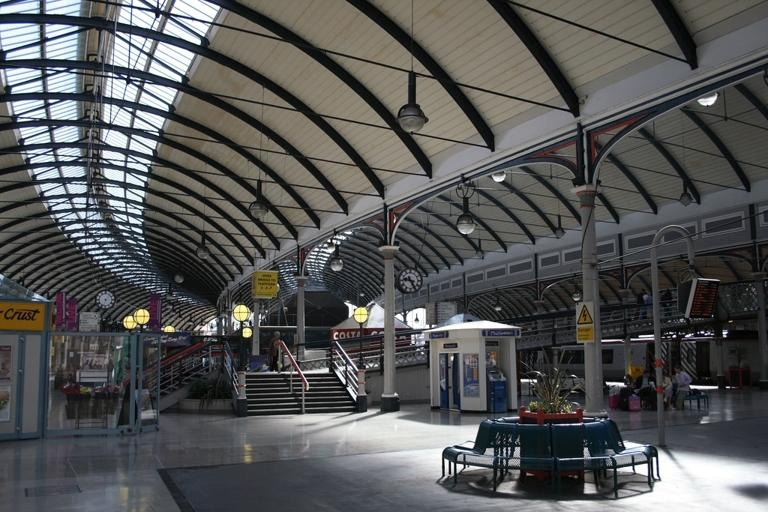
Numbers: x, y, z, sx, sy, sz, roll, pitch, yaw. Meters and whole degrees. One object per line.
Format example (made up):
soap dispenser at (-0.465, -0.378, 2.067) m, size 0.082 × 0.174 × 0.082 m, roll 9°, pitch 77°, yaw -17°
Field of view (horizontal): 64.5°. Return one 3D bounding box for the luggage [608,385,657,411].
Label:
luggage at (9.872, 5.556, 24.236) m, size 1.499 × 0.689 × 1.380 m, roll 1°, pitch -4°, yaw -11°

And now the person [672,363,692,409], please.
person at (11.599, 5.030, 23.489) m, size 0.650 × 1.657 × 1.240 m, roll -7°, pitch -14°, yaw 23°

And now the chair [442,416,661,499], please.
chair at (3.472, 4.142, 12.789) m, size 4.176 × 1.418 × 1.653 m, roll -4°, pitch -13°, yaw 14°

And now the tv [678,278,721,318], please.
tv at (7.317, 0.938, 14.026) m, size 0.875 × 0.913 × 0.600 m, roll -7°, pitch -14°, yaw 23°

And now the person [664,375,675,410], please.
person at (11.022, 5.164, 23.337) m, size 0.408 × 1.238 × 0.916 m, roll -8°, pitch -14°, yaw 26°

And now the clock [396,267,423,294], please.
clock at (1.137, 1.096, 28.307) m, size 1.204 × 1.148 × 0.499 m, roll 2°, pitch -14°, yaw -16°
